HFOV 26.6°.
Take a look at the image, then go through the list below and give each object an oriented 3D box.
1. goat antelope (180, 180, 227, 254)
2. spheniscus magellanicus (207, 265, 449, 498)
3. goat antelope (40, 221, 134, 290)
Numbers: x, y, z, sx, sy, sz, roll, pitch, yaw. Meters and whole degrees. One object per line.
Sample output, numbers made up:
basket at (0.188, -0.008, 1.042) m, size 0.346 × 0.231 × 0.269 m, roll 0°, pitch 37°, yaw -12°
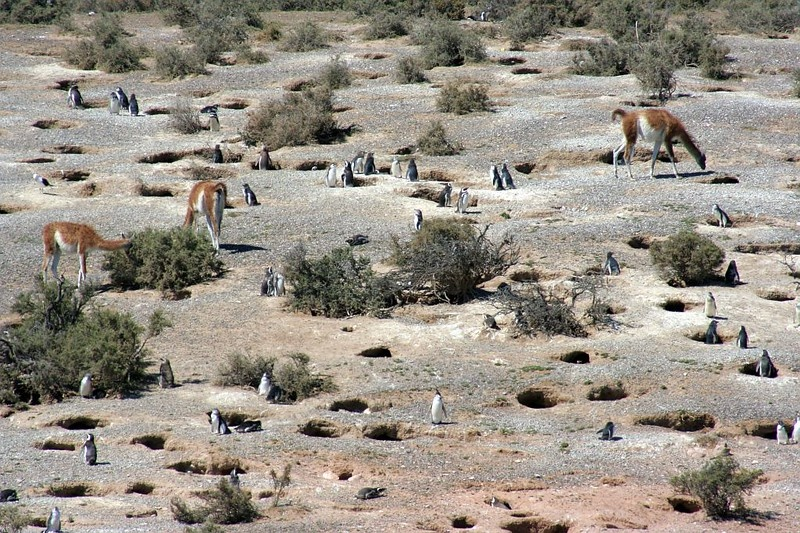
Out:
goat antelope at (-6.820, -1.719, 59.077) m, size 1.473 × 2.265 × 0.885 m, roll 5°, pitch 17°, yaw 33°
spheniscus magellanicus at (-3.636, 3.615, 52.160) m, size 5.158 × 1.912 × 4.352 m, roll 6°, pitch 43°, yaw -5°
goat antelope at (-10.888, -0.380, 57.257) m, size 2.652 × 2.174 × 1.530 m, roll -6°, pitch 14°, yaw -9°
